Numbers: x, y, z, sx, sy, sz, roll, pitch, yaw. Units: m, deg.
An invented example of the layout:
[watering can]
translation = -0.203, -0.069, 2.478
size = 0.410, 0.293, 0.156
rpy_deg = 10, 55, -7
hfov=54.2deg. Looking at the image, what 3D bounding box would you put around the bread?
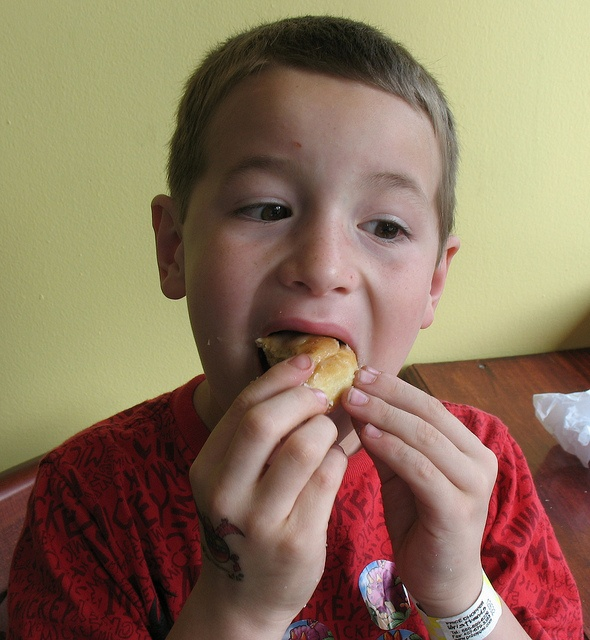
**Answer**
[bread]
translation = 0.030, 0.049, 0.893
size = 0.135, 0.051, 0.155
rpy_deg = -18, 45, -24
